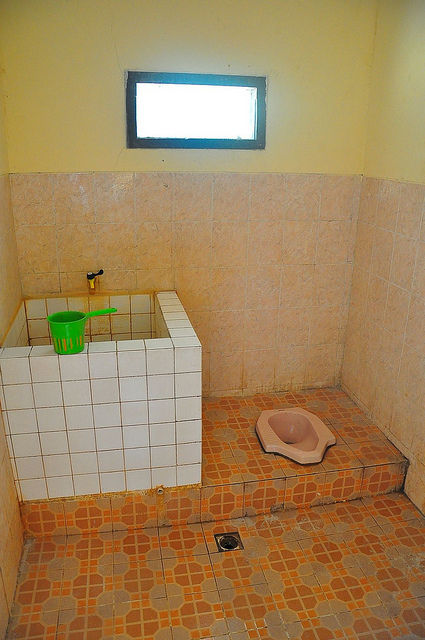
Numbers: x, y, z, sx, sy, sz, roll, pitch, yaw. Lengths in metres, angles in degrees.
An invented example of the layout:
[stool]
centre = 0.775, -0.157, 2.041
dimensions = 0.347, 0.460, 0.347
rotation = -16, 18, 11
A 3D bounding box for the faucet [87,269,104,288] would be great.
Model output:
[faucet]
centre = -0.598, -0.221, 2.466
dimensions = 0.110, 0.133, 0.048
rotation = -1, 39, -8

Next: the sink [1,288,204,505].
[sink]
centre = -0.507, 0.285, 2.226
dimensions = 0.851, 0.793, 0.907
rotation = -1, 14, -5

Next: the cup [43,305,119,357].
[cup]
centre = -0.483, 0.030, 1.800
dimensions = 0.253, 0.144, 0.151
rotation = -8, 20, -17
